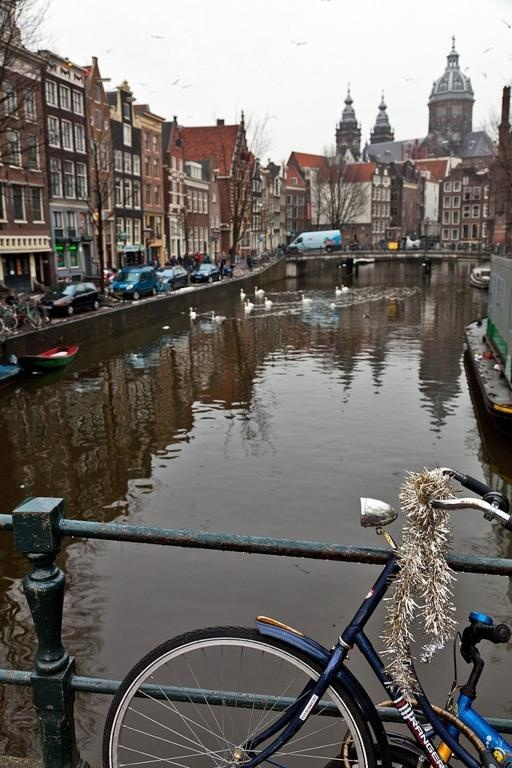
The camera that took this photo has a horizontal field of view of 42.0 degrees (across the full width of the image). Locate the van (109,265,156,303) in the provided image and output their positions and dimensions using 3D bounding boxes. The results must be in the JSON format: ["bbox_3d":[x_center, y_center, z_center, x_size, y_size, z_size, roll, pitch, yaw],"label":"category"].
[{"bbox_3d":[-6.229,-4.969,33.312,1.444,1.260,2.531,1,11,11],"label":"van"}]

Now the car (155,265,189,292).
[{"bbox_3d":[-5.027,-6.149,39.116,1.115,0.932,2.525,2,11,10],"label":"car"}]

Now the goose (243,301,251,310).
[{"bbox_3d":[-0.387,-4.230,36.285,0.361,0.645,0.932,1,12,1],"label":"goose"}]

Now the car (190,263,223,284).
[{"bbox_3d":[-3.309,-7.329,44.766,1.180,0.963,2.054,0,8,8],"label":"car"}]

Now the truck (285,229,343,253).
[{"bbox_3d":[6.872,-16.049,74.138,6.958,3.273,2.743,1,9,7],"label":"truck"}]

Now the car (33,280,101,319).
[{"bbox_3d":[-7.388,-3.261,25.900,1.230,0.876,2.271,0,8,12],"label":"car"}]

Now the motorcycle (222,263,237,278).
[{"bbox_3d":[-2.091,-8.495,50.732,0.673,0.764,1.910,1,12,2],"label":"motorcycle"}]
